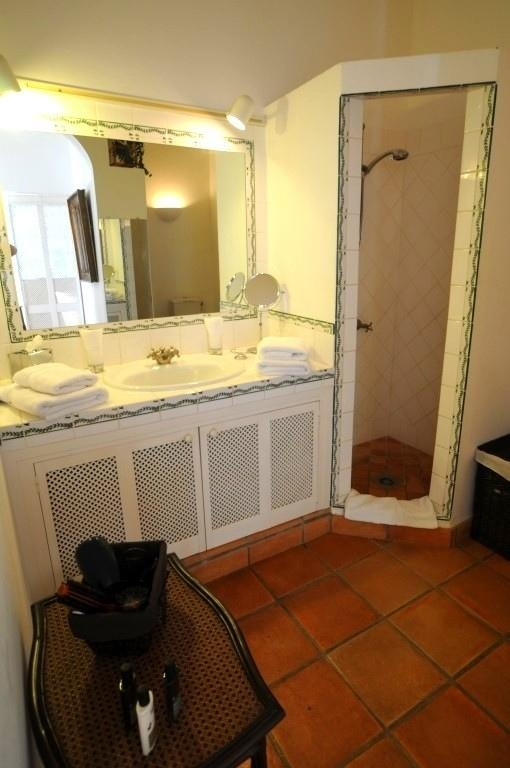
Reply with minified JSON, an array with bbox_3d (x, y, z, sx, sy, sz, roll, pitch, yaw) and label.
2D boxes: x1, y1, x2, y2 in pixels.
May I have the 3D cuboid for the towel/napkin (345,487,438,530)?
[{"bbox_3d":[0.571,0.522,2.244,0.375,0.090,0.173,2,19,19],"label":"towel/napkin"}]

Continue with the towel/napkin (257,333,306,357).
[{"bbox_3d":[0.102,-0.143,2.037,0.182,0.062,0.181,-3,18,3],"label":"towel/napkin"}]

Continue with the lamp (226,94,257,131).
[{"bbox_3d":[-0.052,-1.015,1.976,0.078,0.098,0.100,5,20,28],"label":"lamp"}]

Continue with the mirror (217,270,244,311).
[{"bbox_3d":[-0.110,-0.410,2.335,0.121,0.157,0.035,15,-4,-32],"label":"mirror"}]

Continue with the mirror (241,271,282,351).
[{"bbox_3d":[0.026,-0.314,2.271,0.154,0.365,0.109,-3,40,-3],"label":"mirror"}]

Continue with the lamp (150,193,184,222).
[{"bbox_3d":[-0.343,-0.696,2.075,0.111,0.106,0.057,-19,27,-19],"label":"lamp"}]

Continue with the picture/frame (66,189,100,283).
[{"bbox_3d":[-0.624,-0.543,1.893,0.040,0.312,0.225,-7,25,-22],"label":"picture/frame"}]

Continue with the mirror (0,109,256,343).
[{"bbox_3d":[-0.502,-0.607,1.975,0.896,0.700,0.020,-10,23,-30],"label":"mirror"}]

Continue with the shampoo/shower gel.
[{"bbox_3d":[-0.170,0.498,0.863,0.080,0.108,0.121,7,21,33],"label":"shampoo/shower gel"}]

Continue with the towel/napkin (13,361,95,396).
[{"bbox_3d":[-0.625,-0.024,1.610,0.164,0.047,0.130,18,26,40],"label":"towel/napkin"}]
